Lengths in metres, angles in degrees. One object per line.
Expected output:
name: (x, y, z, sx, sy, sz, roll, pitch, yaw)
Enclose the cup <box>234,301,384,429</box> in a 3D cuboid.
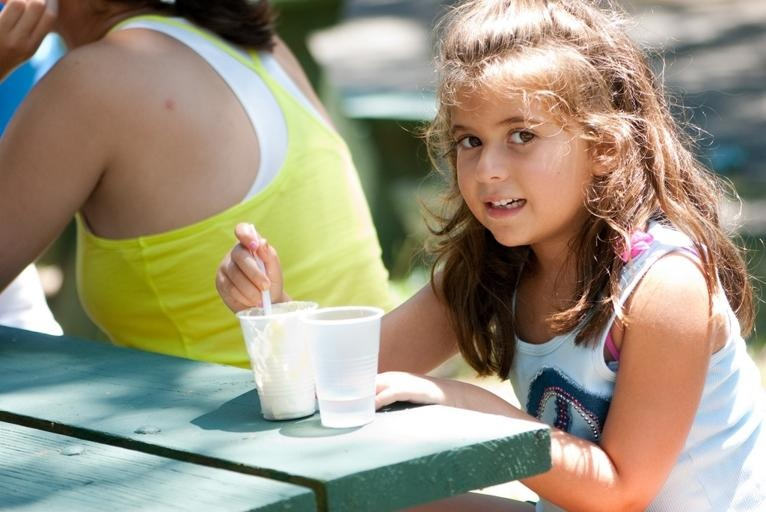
cup: (-0.145, 0.222, 1.767, 0.280, 0.196, 0.231, -4, 2, 25)
